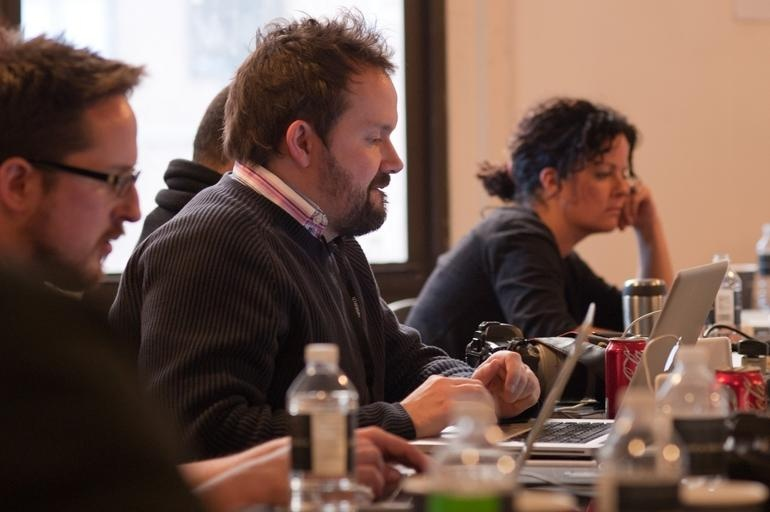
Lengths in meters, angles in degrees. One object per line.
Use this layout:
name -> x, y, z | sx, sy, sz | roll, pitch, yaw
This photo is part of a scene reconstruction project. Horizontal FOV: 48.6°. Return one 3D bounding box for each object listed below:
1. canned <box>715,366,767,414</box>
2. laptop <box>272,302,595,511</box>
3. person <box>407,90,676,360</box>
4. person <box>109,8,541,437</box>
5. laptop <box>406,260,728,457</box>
canned -> 0.713, 0.263, 1.723 | 0.088, 0.083, 0.088 | -2, 3, 11
laptop -> 0.314, 0.369, 2.190 | 0.289, 0.415, 0.432 | 7, -1, 24
person -> 0.642, -0.143, 3.556 | 0.990, 1.498, 1.121 | 5, 1, 9
person -> -0.085, -0.030, 2.389 | 1.067, 0.999, 1.169 | 0, -1, 0
laptop -> 0.580, 0.212, 2.148 | 0.436, 0.328, 0.486 | 1, -4, 34
